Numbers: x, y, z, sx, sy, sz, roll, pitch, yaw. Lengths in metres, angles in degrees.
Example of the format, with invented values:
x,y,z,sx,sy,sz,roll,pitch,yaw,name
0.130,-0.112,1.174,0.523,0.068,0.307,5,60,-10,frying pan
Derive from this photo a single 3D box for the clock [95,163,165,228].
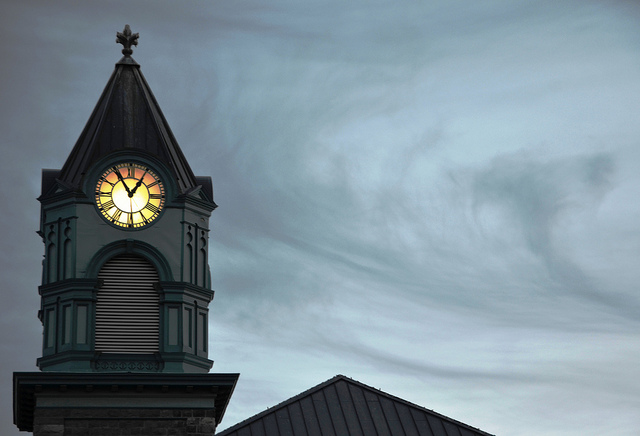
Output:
x,y,z,sx,sy,sz,roll,pitch,yaw,name
-7.092,-0.748,51.543,2.629,2.213,0.149,-14,-26,-14,clock

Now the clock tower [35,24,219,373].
x,y,z,sx,sy,sz,roll,pitch,yaw,name
-7.111,-0.633,52.286,6.021,13.606,3.282,7,-38,-9,clock tower
